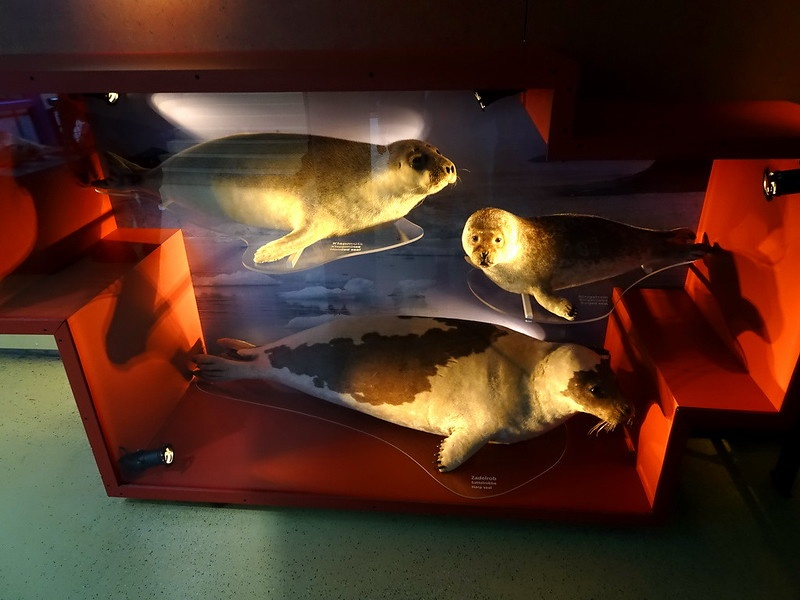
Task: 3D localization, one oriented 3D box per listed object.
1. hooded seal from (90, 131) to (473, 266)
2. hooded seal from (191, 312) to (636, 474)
[{"bbox_3d":[-0.275,-0.253,1.322,0.576,0.163,0.322,3,30,6],"label":"hooded seal"},{"bbox_3d":[0.093,0.199,1.597,0.923,0.224,0.390,10,27,7],"label":"hooded seal"}]
